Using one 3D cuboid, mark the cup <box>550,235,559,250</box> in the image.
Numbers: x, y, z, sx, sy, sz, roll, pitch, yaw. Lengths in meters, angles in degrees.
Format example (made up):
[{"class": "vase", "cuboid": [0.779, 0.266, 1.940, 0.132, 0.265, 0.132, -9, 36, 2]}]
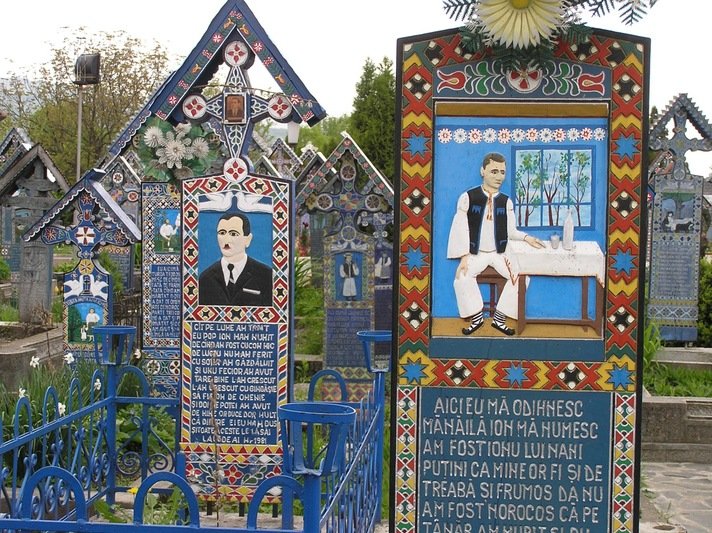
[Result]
[{"class": "cup", "cuboid": [2.028, -0.218, 14.180, 0.108, 0.132, 0.109, -2, 2, 0]}]
